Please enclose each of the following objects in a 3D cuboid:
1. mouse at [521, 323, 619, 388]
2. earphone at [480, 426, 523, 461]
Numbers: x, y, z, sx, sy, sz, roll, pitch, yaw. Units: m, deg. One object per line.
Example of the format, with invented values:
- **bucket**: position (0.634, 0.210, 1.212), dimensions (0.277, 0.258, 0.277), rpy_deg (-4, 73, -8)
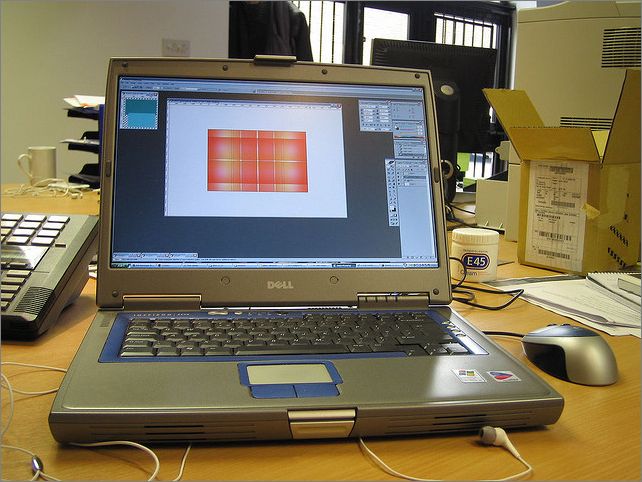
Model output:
- **mouse**: position (0.366, 0.151, 0.760), dimensions (0.097, 0.065, 0.157), rpy_deg (-8, 8, -16)
- **earphone**: position (0.205, 0.226, 0.588), dimensions (0.047, 0.026, 0.028), rpy_deg (4, 15, 23)
